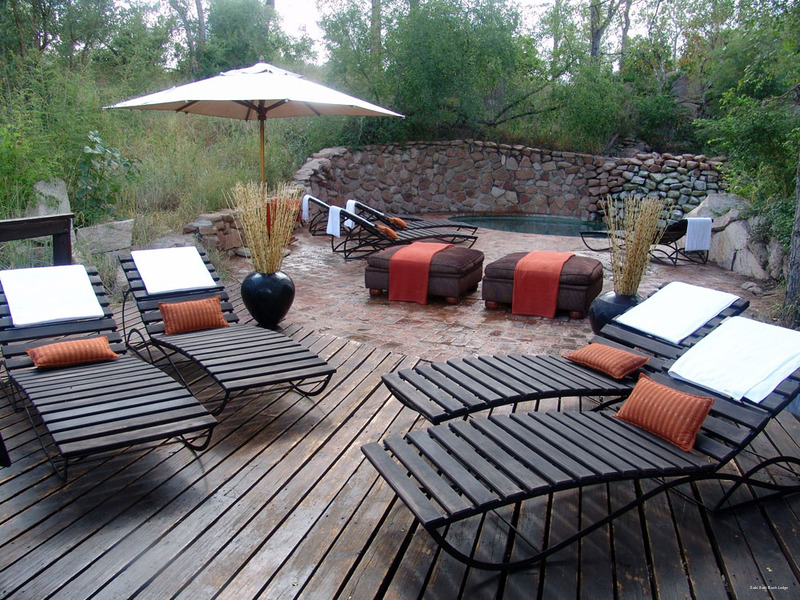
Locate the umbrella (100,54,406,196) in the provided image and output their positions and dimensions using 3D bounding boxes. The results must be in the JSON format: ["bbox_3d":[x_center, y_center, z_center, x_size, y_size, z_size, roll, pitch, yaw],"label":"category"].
[{"bbox_3d":[-1.829,-2.358,6.919,2.685,1.521,2.313,-5,20,-6],"label":"umbrella"}]
